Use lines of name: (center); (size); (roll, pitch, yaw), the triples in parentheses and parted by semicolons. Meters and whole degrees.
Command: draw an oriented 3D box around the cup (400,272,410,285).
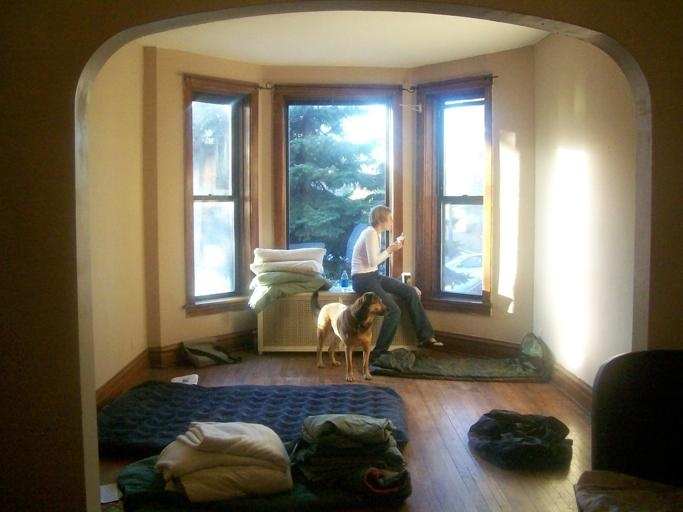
cup: (0.672, 0.253, 5.980); (0.104, 0.204, 0.107); (0, -2, 0)

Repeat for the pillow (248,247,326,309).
pillow: (-0.584, 0.265, 5.973); (0.664, 0.705, 0.310); (-6, -29, -7)

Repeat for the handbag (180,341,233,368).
handbag: (-1.327, 0.985, 5.592); (0.296, 0.112, 0.300); (2, 11, -33)
